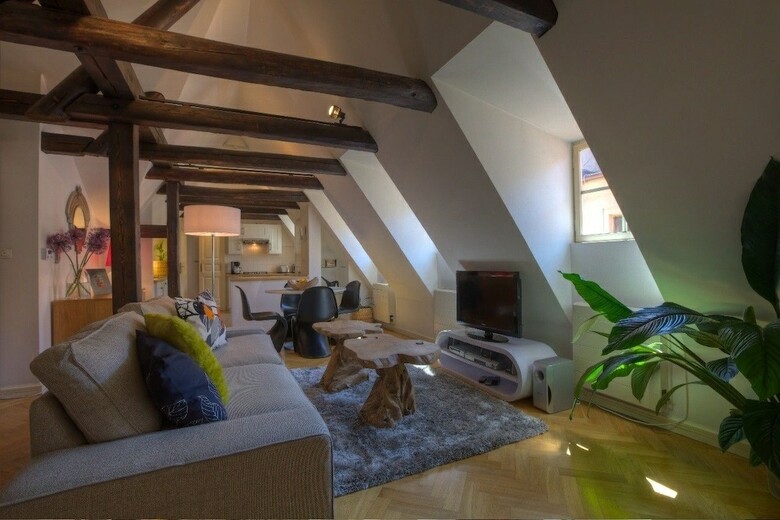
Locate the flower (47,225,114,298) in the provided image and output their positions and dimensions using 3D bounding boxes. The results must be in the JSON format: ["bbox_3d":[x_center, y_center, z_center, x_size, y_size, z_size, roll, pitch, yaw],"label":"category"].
[{"bbox_3d":[-3.663,-0.003,5.736,0.736,0.867,0.634,1,2,36],"label":"flower"}]

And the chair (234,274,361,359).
[{"bbox_3d":[-1.143,0.738,6.702,1.156,0.690,1.158,0,-2,-11],"label":"chair"}]

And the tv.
[{"bbox_3d":[1.033,0.468,5.144,0.200,0.543,0.761,-2,2,-30],"label":"tv"}]

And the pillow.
[{"bbox_3d":[-1.342,0.690,3.252,0.200,0.674,0.693,-23,-6,14],"label":"pillow"}]

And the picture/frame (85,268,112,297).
[{"bbox_3d":[-3.330,0.238,5.849,0.099,0.292,0.427,-9,10,-6],"label":"picture/frame"}]
